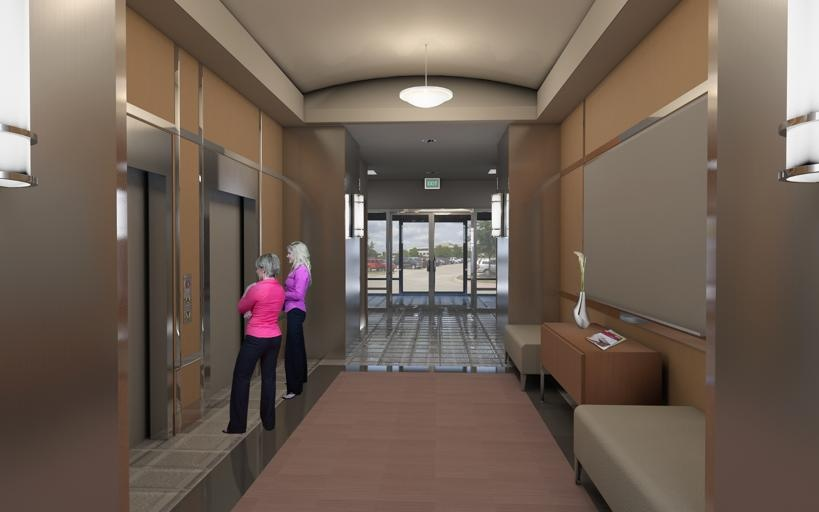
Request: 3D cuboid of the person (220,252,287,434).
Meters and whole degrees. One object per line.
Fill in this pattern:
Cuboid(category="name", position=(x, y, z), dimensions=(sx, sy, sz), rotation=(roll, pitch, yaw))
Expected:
Cuboid(category="person", position=(-1.411, 0.778, 4.622), dimensions=(0.520, 1.559, 0.428), rotation=(-1, 5, -15))
